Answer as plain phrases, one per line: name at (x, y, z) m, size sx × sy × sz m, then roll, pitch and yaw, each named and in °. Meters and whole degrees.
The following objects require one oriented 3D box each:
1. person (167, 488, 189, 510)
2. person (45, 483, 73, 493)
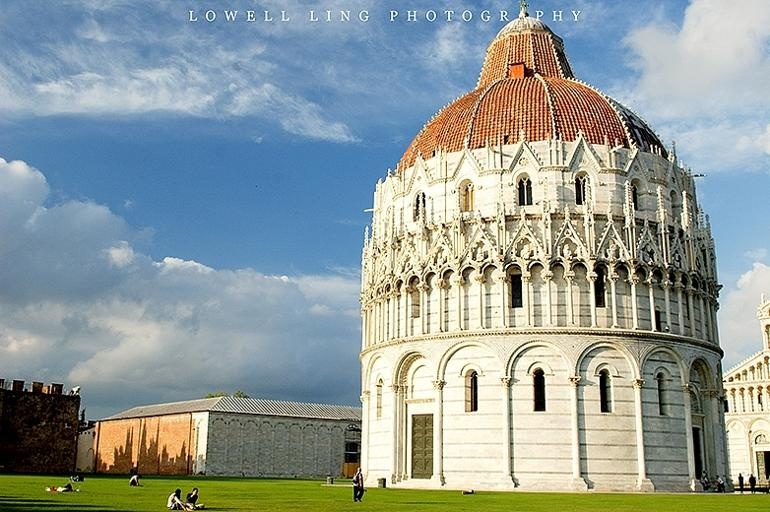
person at (-11.765, 13.867, 53.665) m, size 0.786 × 1.190 × 0.875 m, roll -19°, pitch -28°, yaw 41°
person at (-21.519, 15.404, 62.310) m, size 1.617 × 0.469 × 1.147 m, roll 0°, pitch -13°, yaw -1°
